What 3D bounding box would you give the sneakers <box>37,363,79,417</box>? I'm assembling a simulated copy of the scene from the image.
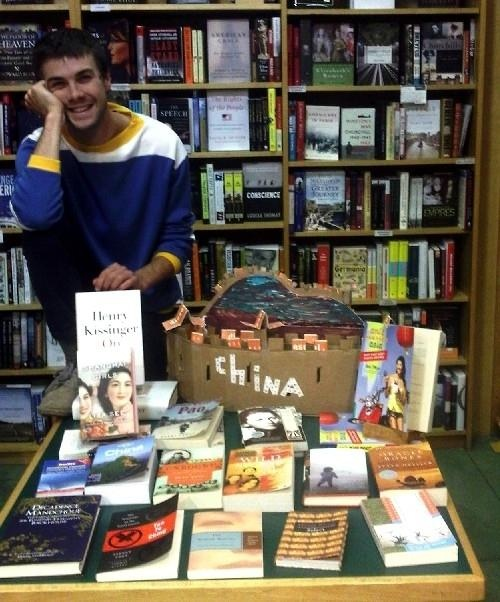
[{"bbox_3d":[-0.486,0.223,1.440,0.112,0.127,0.044,4,-2,-2],"label":"sneakers"}]
